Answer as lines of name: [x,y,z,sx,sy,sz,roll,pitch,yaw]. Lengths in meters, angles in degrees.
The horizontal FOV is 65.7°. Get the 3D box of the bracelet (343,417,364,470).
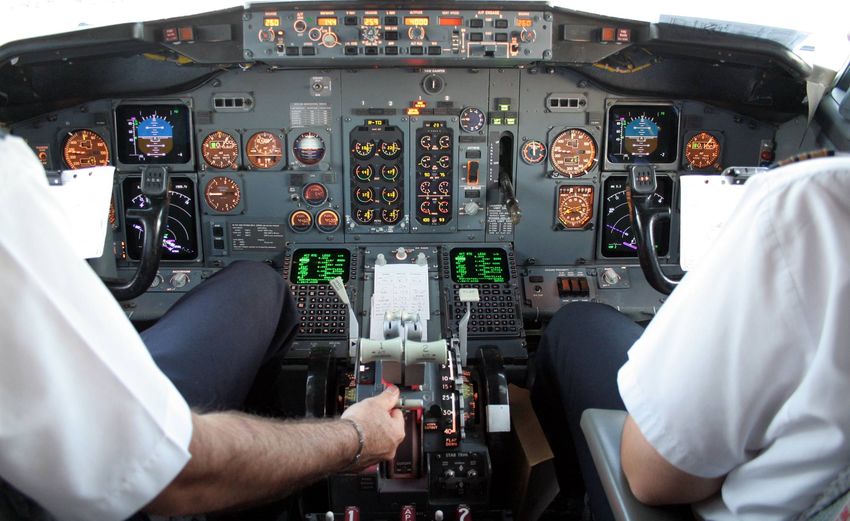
bracelet: [-0.238,0.626,2.256,0.148,0.133,0.040,14,17,41]
